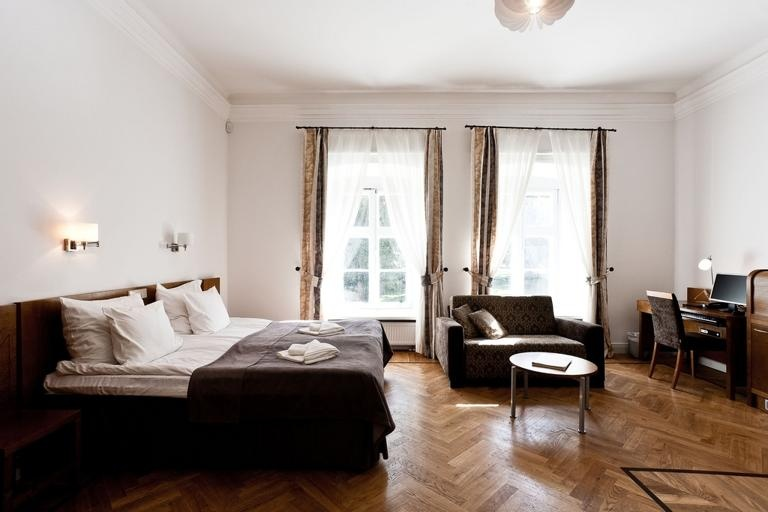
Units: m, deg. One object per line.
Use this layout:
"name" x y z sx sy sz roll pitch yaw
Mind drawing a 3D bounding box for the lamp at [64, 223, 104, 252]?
"lamp" -3.118 -0.189 5.527 0.326 0.232 0.227 -5 8 -31

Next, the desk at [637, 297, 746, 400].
"desk" 3.957 1.057 7.200 1.007 1.210 1.750 1 4 -9

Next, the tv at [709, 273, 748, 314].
"tv" 4.548 0.465 7.047 0.620 0.437 0.171 7 7 -19

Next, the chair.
"chair" 3.871 1.032 6.863 0.719 1.123 0.673 0 1 5

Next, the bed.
"bed" -1.474 1.507 5.613 3.145 1.088 0.905 2 4 -1

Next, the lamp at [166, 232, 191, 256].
"lamp" -2.575 -0.160 6.845 0.258 0.268 0.409 2 4 10

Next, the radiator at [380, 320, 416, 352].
"radiator" 0.200 1.138 7.790 0.553 0.320 0.054 0 -1 -1

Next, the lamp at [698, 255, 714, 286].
"lamp" 4.526 0.196 7.492 0.191 0.418 0.383 4 5 30
